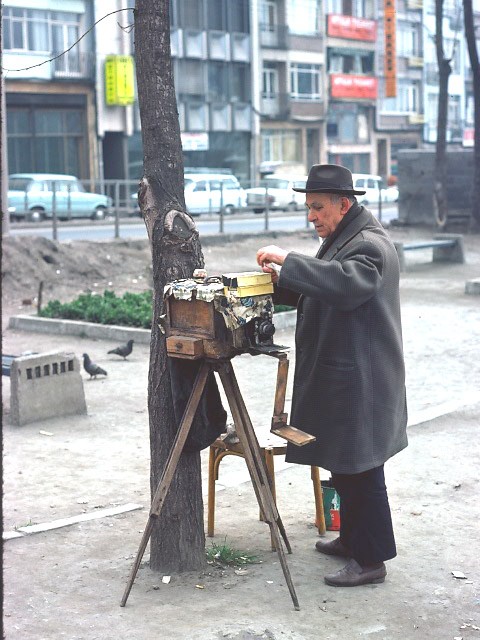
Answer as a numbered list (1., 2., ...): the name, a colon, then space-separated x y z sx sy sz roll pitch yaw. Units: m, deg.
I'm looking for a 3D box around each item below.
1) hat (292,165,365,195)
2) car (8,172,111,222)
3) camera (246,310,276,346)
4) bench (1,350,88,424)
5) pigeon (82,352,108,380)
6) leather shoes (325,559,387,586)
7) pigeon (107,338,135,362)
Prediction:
1. hat: 0.434 -0.673 5.780 0.328 0.159 0.251 -1 9 2
2. car: -3.239 -2.113 21.175 1.093 0.854 2.825 1 9 15
3. camera: 0.098 0.043 5.609 0.148 0.169 0.112 5 4 44
4. bench: -1.546 0.540 9.435 0.197 0.514 0.571 6 10 43
5. pigeon: -1.335 0.410 10.982 0.274 0.311 0.152 -1 -2 -1
6. leather shoes: 0.583 1.253 6.029 0.310 0.159 0.119 1 -1 -6
7. pigeon: -1.177 0.290 11.939 0.286 0.209 0.155 7 2 3
